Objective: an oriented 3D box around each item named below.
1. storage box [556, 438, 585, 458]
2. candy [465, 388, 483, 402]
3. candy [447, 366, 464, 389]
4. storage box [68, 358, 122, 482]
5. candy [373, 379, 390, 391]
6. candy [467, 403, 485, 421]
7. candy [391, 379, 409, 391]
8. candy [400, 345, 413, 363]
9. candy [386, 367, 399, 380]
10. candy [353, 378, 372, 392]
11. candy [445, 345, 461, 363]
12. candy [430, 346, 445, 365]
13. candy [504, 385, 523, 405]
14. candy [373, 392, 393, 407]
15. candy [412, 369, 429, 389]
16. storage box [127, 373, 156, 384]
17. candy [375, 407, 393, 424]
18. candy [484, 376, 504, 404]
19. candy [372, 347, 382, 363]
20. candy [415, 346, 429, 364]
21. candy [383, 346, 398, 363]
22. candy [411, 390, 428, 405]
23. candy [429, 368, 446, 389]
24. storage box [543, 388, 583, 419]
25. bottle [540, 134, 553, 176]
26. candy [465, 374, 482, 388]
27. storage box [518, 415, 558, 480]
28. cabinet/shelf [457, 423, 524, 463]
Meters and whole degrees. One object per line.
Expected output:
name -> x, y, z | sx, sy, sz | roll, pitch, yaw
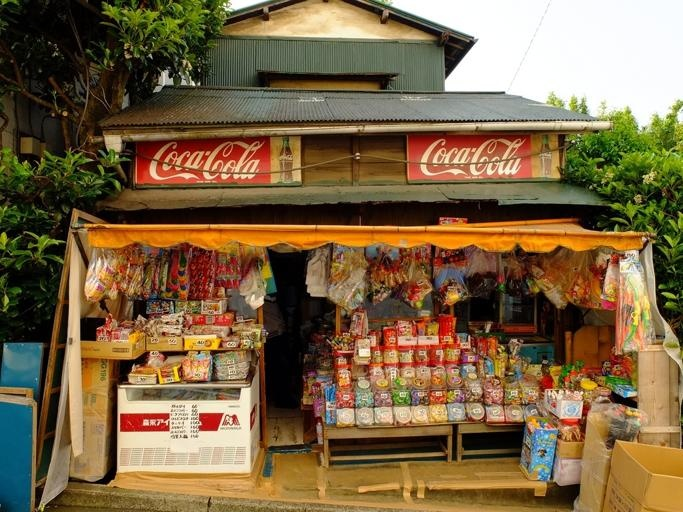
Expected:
storage box -> 3.167, 2.666, 9.762 | 0.268, 0.162, 0.270 | 0, -3, 4
candy -> 1.933, 2.044, 10.364 | 0.337, 0.226, 0.180 | 1, -8, 0
candy -> 1.655, 1.790, 10.498 | 0.222, 0.082, 0.305 | 0, 34, 1
storage box -> -3.502, 2.307, 9.955 | 0.563, 1.706, 0.185 | 3, -5, -20
candy -> 0.579, 1.887, 10.380 | 0.236, 0.157, 0.077 | 1, -5, -1
candy -> 1.944, 2.281, 10.321 | 0.279, 0.263, 0.091 | 1, -5, 9
candy -> 0.857, 1.887, 10.415 | 0.181, 0.098, 0.179 | 1, -7, -1
candy -> 0.959, 1.480, 10.579 | 0.231, 0.251, 0.230 | -1, -5, 7
candy -> 0.751, 1.739, 10.473 | 0.183, 0.302, 0.182 | -1, -1, 5
candy -> 0.304, 1.880, 10.410 | 0.255, 0.184, 0.125 | 1, -5, -2
candy -> 1.655, 1.481, 10.662 | 0.248, 0.266, 0.247 | 0, -3, 7
candy -> 1.429, 1.504, 10.648 | 0.270, 0.288, 0.269 | -3, -6, 18
candy -> 2.492, 2.041, 10.374 | 0.267, 0.248, 0.260 | -1, -6, 1
candy -> 0.594, 2.092, 10.294 | 0.214, 0.159, 0.212 | 0, -5, 6
candy -> 1.177, 1.804, 10.472 | 0.254, 0.329, 0.184 | 1, -5, 6
storage box -> -2.809, 1.729, 9.934 | 0.393, 0.147, 0.047 | 1, -5, -3
candy -> 0.598, 2.314, 10.223 | 0.233, 0.226, 0.076 | -1, -14, -7
candy -> 2.210, 1.992, 10.367 | 0.323, 0.430, 0.317 | 0, -8, 0
candy -> 0.511, 1.491, 10.554 | 0.204, 0.212, 0.203 | -2, -6, 12
candy -> 1.194, 1.491, 10.599 | 0.238, 0.247, 0.236 | -1, -6, 1
candy -> 0.730, 1.493, 10.639 | 0.222, 0.232, 0.223 | -1, -4, 8
candy -> 1.134, 2.081, 10.348 | 0.323, 0.228, 0.177 | 0, -6, 0
candy -> 1.419, 1.804, 10.474 | 0.229, 0.327, 0.219 | 1, -5, 6
storage box -> 3.132, 2.068, 10.012 | 0.405, 0.247, 0.402 | -1, 3, -11
bottle -> 3.388, -1.660, 11.702 | 0.215, 0.687, 0.103 | 1, -5, 7
candy -> 1.949, 1.832, 10.490 | 0.278, 0.184, 0.219 | 1, -4, -1
storage box -> 2.786, 2.722, 9.959 | 0.515, 0.857, 0.318 | 0, -5, 13
cabinet/shelf -> 2.206, 2.736, 10.579 | 1.026, 0.575, 0.741 | 1, -4, 4
